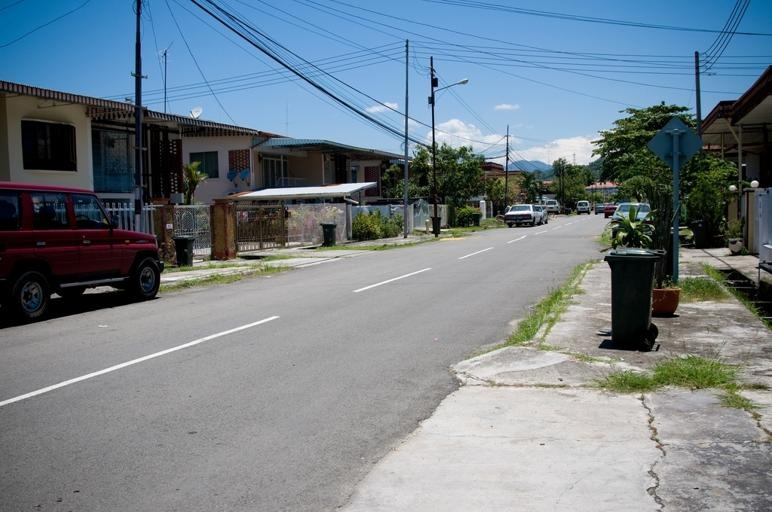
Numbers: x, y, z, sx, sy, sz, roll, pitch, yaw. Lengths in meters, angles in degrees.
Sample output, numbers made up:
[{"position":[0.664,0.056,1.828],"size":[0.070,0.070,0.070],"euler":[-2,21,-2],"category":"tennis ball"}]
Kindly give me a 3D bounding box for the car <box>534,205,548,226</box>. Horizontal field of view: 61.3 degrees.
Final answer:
[{"position":[13.727,-3.830,59.604],"size":[1.598,1.456,2.959],"euler":[3,13,27],"category":"car"}]

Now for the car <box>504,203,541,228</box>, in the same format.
[{"position":[11.599,-3.557,55.543],"size":[2.148,1.802,3.881],"euler":[4,12,26],"category":"car"}]

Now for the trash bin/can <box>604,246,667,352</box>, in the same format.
[{"position":[3.968,0.688,10.614],"size":[0.818,1.520,0.653],"euler":[2,11,19],"category":"trash bin/can"}]

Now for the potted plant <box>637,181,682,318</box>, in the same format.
[{"position":[5.670,-0.260,13.487],"size":[0.861,2.871,0.789],"euler":[6,-9,-43],"category":"potted plant"}]

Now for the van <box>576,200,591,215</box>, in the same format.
[{"position":[31.438,-7.917,104.434],"size":[2.035,1.795,3.531],"euler":[0,14,19],"category":"van"}]

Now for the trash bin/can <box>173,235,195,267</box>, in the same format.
[{"position":[-7.339,-0.201,23.598],"size":[0.658,1.050,0.600],"euler":[-6,11,-20],"category":"trash bin/can"}]

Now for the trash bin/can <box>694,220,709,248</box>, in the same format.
[{"position":[13.263,-0.992,27.337],"size":[0.744,1.063,0.424],"euler":[-8,12,-30],"category":"trash bin/can"}]
